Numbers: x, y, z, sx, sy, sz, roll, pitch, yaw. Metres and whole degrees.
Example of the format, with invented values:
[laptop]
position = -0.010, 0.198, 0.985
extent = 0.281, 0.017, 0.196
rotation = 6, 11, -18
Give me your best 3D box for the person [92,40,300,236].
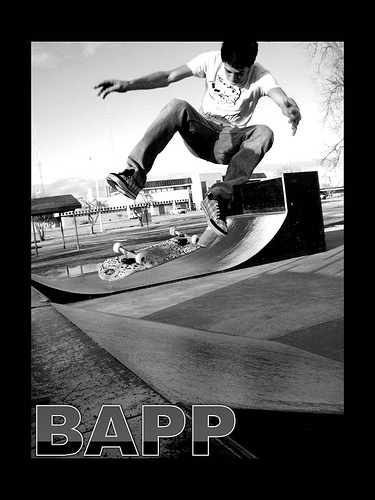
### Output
[person]
position = 0.038, -1.090, 3.238
extent = 1.106, 1.419, 0.839
rotation = 25, -13, 2
